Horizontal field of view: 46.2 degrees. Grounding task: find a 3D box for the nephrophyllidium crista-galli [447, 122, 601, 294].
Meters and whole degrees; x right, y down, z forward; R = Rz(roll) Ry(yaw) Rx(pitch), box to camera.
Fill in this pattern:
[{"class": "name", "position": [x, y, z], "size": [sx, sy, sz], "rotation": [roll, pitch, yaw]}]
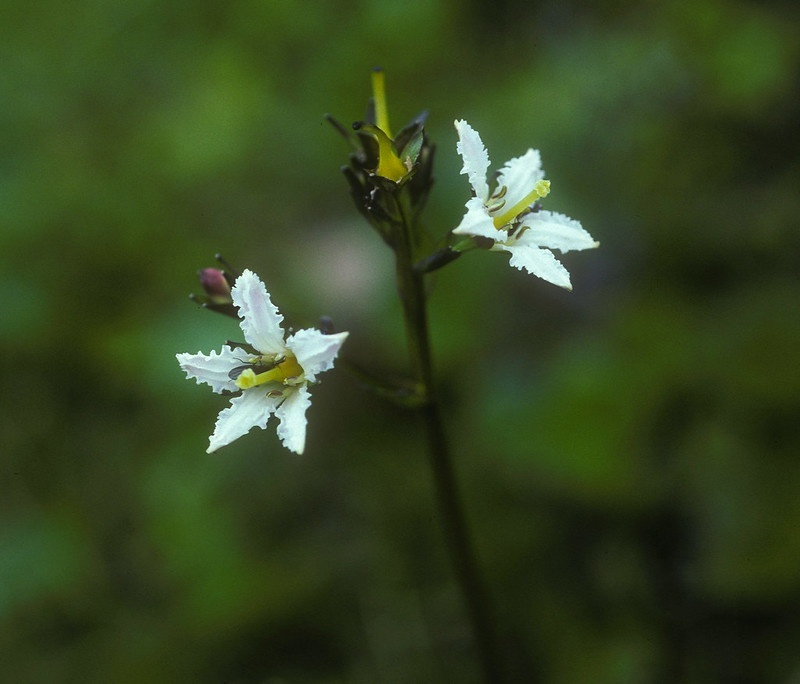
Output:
[{"class": "nephrophyllidium crista-galli", "position": [0.297, -0.320, 2.500], "size": [0.217, 0.390, 0.461], "rotation": [-33, -92, 48]}]
